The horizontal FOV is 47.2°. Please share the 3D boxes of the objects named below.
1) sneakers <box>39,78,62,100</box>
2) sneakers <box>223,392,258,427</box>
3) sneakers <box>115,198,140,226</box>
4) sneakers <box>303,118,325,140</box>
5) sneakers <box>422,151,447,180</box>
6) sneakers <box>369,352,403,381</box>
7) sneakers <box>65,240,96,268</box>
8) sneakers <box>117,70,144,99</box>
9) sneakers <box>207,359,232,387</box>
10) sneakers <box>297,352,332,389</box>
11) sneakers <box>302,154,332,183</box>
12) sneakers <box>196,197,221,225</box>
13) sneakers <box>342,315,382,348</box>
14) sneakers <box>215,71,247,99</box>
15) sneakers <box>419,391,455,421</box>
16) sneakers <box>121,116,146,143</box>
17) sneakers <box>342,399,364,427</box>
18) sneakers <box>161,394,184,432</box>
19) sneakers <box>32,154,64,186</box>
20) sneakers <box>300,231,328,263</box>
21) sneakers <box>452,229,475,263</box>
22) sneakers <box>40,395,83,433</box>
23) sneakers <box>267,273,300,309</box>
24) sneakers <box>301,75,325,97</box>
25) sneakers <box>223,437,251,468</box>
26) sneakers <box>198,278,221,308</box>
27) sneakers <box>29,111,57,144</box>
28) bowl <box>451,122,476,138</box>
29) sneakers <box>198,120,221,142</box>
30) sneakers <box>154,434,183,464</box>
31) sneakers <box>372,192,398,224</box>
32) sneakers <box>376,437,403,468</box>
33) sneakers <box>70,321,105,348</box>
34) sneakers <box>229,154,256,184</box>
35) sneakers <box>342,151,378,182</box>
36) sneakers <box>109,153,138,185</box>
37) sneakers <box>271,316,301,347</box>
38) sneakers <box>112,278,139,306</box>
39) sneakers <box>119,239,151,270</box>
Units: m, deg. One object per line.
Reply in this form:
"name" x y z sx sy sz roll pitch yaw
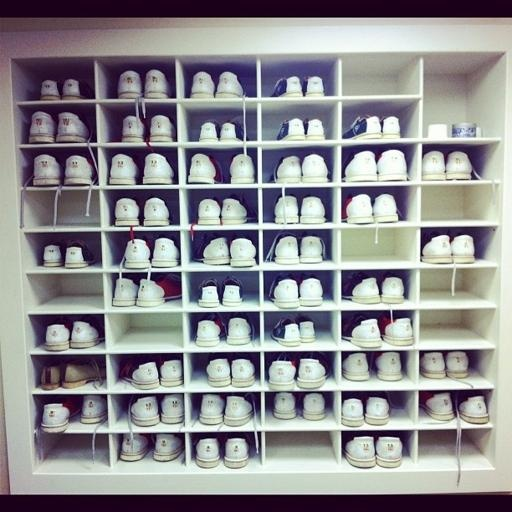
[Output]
"sneakers" -1.064 -0.848 2.987 0.063 0.059 0.145 0 11 -6
"sneakers" -0.092 0.784 3.146 0.164 0.152 0.245 0 14 -1
"sneakers" -0.700 -0.233 3.076 0.141 0.141 0.135 0 14 0
"sneakers" 0.283 -0.663 3.073 0.093 0.099 0.211 -4 14 -13
"sneakers" 0.927 -0.465 3.036 0.117 0.147 0.069 3 15 14
"sneakers" 0.713 0.585 3.090 0.095 0.086 0.195 -2 4 3
"sneakers" -0.944 0.005 3.070 0.088 0.082 0.201 -1 7 -5
"sneakers" -0.662 -0.887 3.021 0.140 0.150 0.162 1 14 5
"sneakers" -0.193 0.608 3.001 0.087 0.070 0.170 0 2 -2
"sneakers" 0.307 0.602 3.142 0.105 0.109 0.252 -1 3 4
"sneakers" 0.320 -0.455 3.066 0.154 0.143 0.352 -1 9 1
"sneakers" -0.252 -0.237 3.095 0.156 0.142 0.349 0 6 -3
"sneakers" 0.575 0.382 3.142 0.209 0.151 0.292 0 14 -1
"sneakers" -0.146 -0.897 3.057 0.145 0.141 0.197 -1 14 -2
"sneakers" 0.975 0.789 3.088 0.097 0.082 0.204 -1 4 0
"sneakers" -0.642 -0.652 3.019 0.119 0.129 0.123 -3 14 -11
"sneakers" 0.511 0.811 3.067 0.115 0.132 0.103 2 14 7
"sneakers" -0.446 0.819 3.014 0.090 0.079 0.181 0 4 -5
"sneakers" -1.110 -0.449 3.046 0.151 0.156 0.153 -2 14 -7
"sneakers" 0.308 -0.043 3.152 0.158 0.148 0.366 -1 5 0
"sneakers" 1.078 -0.037 3.057 0.113 0.138 0.107 -7 16 -25
"sneakers" -1.058 0.837 3.093 0.102 0.092 0.243 -1 5 -4
"sneakers" 0.151 0.180 3.107 0.157 0.155 0.239 0 14 2
"sneakers" 0.295 -0.869 3.011 0.103 0.099 0.128 1 14 3
"sneakers" -0.104 1.020 3.024 0.093 0.069 0.169 0 1 -1
"sneakers" -0.252 0.192 3.124 0.115 0.111 0.201 -1 14 -4
"sneakers" -1.106 -0.657 3.007 0.144 0.154 0.082 -8 16 -28
"bowl" 1.094 -0.650 3.036 0.097 0.053 0.093 0 4 0
"sneakers" -0.248 -0.648 3.045 0.097 0.100 0.144 -1 14 -3
"sneakers" -0.483 1.012 3.093 0.089 0.084 0.190 0 1 2
"sneakers" 0.673 -0.242 3.030 0.103 0.107 0.164 -1 7 7
"sneakers" 0.691 1.010 3.011 0.097 0.075 0.181 -1 0 4
"sneakers" -0.915 0.419 3.060 0.091 0.078 0.190 1 2 -2
"sneakers" -0.072 -0.454 3.053 0.152 0.153 0.148 3 13 16
"sneakers" 0.547 -0.465 3.052 0.176 0.160 0.141 3 14 13
"sneakers" -0.705 -0.453 3.064 0.152 0.154 0.139 -3 14 -11
"sneakers" 0.157 0.404 3.093 0.121 0.130 0.153 -3 14 -10
"sneakers" -0.704 0.193 3.099 0.082 0.082 0.185 1 4 -2
"sneakers" -0.639 -0.020 3.069 0.144 0.157 0.150 -3 14 -11
